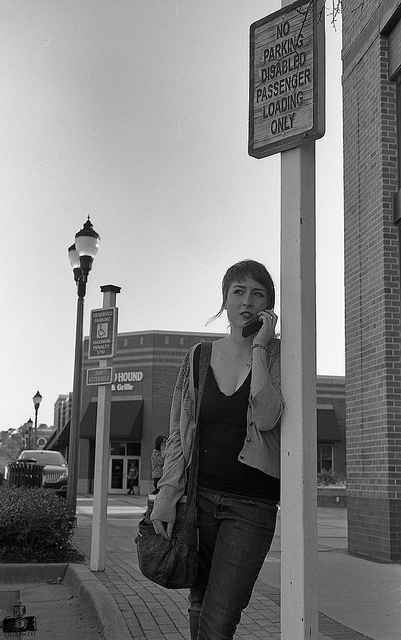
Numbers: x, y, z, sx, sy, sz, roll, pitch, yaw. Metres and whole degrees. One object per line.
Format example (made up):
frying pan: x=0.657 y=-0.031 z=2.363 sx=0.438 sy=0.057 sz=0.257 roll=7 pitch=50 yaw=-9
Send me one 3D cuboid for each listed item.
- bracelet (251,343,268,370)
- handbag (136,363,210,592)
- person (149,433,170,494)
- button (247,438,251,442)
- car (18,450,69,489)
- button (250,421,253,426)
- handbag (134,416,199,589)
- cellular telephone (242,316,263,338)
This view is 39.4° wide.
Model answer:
bracelet: x=0.192 y=0.122 z=1.802 sx=0.018 sy=0.088 sz=0.072 roll=-1 pitch=3 yaw=-23
handbag: x=-0.084 y=0.511 z=1.904 sx=0.287 sy=0.707 sz=0.162 roll=-5 pitch=-10 yaw=1
person: x=-0.634 y=2.392 z=8.872 sx=0.254 sy=1.082 sz=0.263 roll=3 pitch=-1 yaw=25
button: x=0.150 y=0.371 z=1.731 sx=0.013 sy=0.012 sz=0.008 roll=-8 pitch=-12 yaw=7
car: x=-4.197 y=4.057 z=15.364 sx=1.124 sy=1.354 sz=3.145 roll=3 pitch=-15 yaw=-11
button: x=0.157 y=0.318 z=1.722 sx=0.004 sy=0.013 sz=0.019 roll=-1 pitch=-14 yaw=-19
handbag: x=-0.101 y=0.618 z=1.863 sx=0.227 sy=0.486 sz=0.121 roll=-4 pitch=-11 yaw=-7
cellular telephone: x=0.184 y=0.025 z=1.945 sx=0.033 sy=0.058 sz=0.113 roll=4 pitch=-18 yaw=-40
